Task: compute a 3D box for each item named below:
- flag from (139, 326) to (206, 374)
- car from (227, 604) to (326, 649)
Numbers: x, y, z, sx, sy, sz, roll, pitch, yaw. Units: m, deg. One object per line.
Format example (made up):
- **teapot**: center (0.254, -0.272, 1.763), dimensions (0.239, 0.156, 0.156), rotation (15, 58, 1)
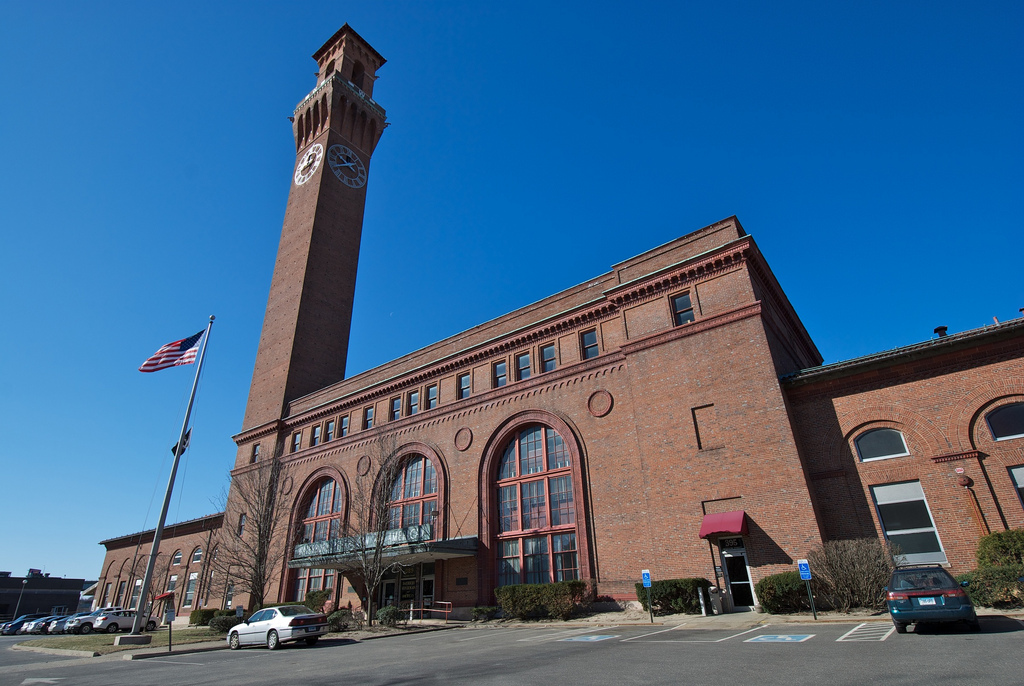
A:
- **flag**: center (-20.251, 0.405, 35.403), dimensions (3.089, 0.324, 3.130), rotation (-9, -34, -48)
- **car**: center (-11.141, 13.324, 28.142), dimensions (4.386, 1.808, 1.350), rotation (-16, -28, 24)
